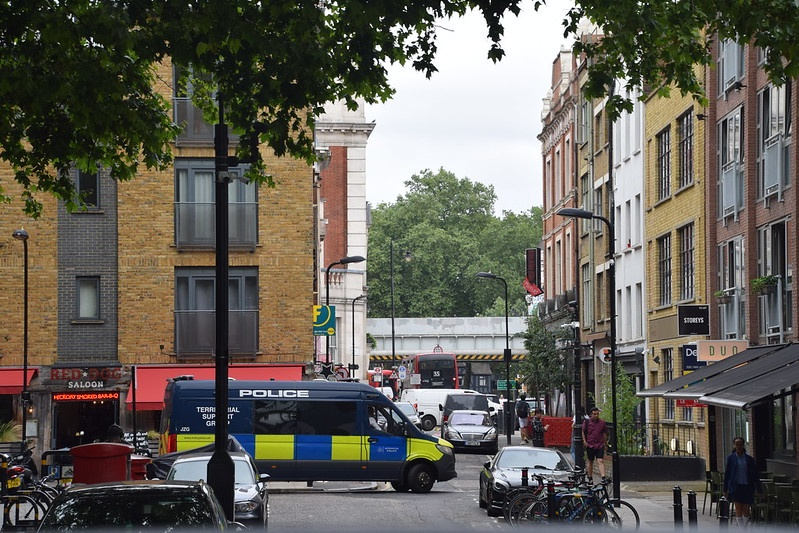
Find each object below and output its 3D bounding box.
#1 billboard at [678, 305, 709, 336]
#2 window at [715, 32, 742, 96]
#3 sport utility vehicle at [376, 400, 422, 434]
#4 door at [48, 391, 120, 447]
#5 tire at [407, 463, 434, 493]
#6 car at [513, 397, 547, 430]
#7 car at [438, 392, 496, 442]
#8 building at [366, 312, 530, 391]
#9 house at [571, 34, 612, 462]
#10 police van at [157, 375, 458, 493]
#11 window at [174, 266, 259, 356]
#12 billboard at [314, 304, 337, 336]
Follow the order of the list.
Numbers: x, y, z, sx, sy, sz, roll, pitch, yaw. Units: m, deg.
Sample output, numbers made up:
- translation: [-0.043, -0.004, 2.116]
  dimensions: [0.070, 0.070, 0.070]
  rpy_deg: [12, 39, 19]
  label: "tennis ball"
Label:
- translation: [9.157, 1.641, 53.512]
  dimensions: [0.954, 1.018, 0.741]
  rpy_deg: [-3, -11, 9]
  label: "billboard"
- translation: [10.426, -6.705, 54.727]
  dimensions: [0.079, 1.782, 1.740]
  rpy_deg: [-4, 23, 21]
  label: "window"
- translation: [0.388, 6.496, 75.019]
  dimensions: [1.286, 1.090, 2.187]
  rpy_deg: [-1, -8, 5]
  label: "sport utility vehicle"
- translation: [-10.645, 5.365, 59.443]
  dimensions: [0.188, 2.256, 3.162]
  rpy_deg: [-10, -10, 43]
  label: "door"
- translation: [0.643, 6.304, 51.136]
  dimensions: [0.846, 0.820, 0.301]
  rpy_deg: [3, -7, -14]
  label: "tire"
- translation: [7.296, 7.895, 94.561]
  dimensions: [1.717, 1.585, 2.987]
  rpy_deg: [0, -11, -5]
  label: "car"
- translation: [2.684, 6.058, 68.656]
  dimensions: [2.256, 1.848, 3.509]
  rpy_deg: [1, 1, 2]
  label: "car"
- translation: [1.978, 5.952, 116.755]
  dimensions: [13.234, 5.454, 4.749]
  rpy_deg: [-1, 1, -5]
  label: "building"
- translation: [8.231, 2.161, 75.487]
  dimensions: [1.856, 15.208, 1.618]
  rpy_deg: [-1, 9, -12]
  label: "house"
- translation: [-2.620, 5.055, 52.450]
  dimensions: [9.255, 3.498, 3.570]
  rpy_deg: [0, -3, -7]
  label: "police van"
- translation: [-5.924, 1.552, 56.562]
  dimensions: [3.241, 3.132, 0.310]
  rpy_deg: [0, -7, 0]
  label: "window"
- translation: [-2.882, 2.089, 67.018]
  dimensions: [0.215, 1.236, 1.467]
  rpy_deg: [-2, -2, 24]
  label: "billboard"
